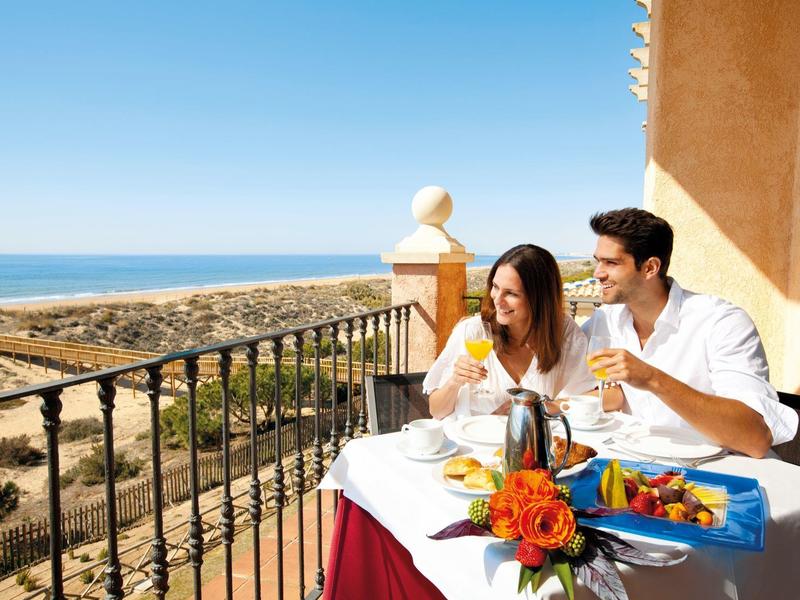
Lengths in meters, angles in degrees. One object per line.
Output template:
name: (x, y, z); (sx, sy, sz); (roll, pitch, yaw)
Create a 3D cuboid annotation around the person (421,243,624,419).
person: (0.496, 0.203, 2.785); (0.889, 1.143, 0.787); (2, 9, 22)

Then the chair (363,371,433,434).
chair: (-0.014, 0.464, 2.634); (0.279, 0.276, 0.318); (3, 3, 2)

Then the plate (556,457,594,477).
plate: (0.528, 0.517, 1.740); (0.068, 0.016, 0.068); (-13, -11, -44)

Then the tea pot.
tea pot: (0.368, 0.387, 1.660); (0.147, 0.279, 0.226); (-1, 3, -24)

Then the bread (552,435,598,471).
bread: (0.541, 0.480, 1.753); (0.110, 0.044, 0.118); (-1, -8, -28)

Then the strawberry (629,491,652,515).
strawberry: (0.653, 0.556, 1.538); (0.050, 0.062, 0.053); (15, -6, -16)
